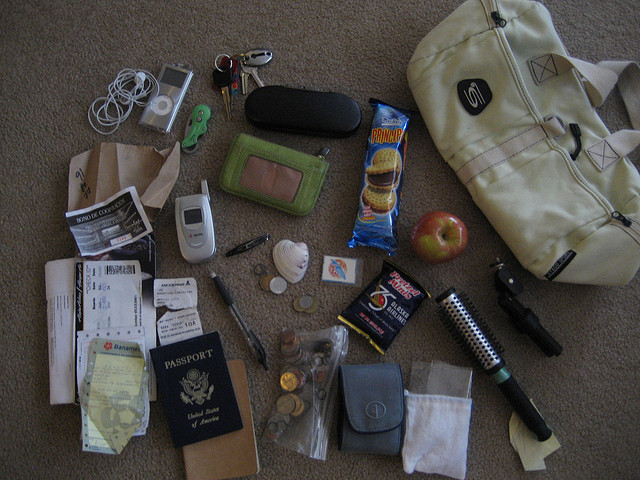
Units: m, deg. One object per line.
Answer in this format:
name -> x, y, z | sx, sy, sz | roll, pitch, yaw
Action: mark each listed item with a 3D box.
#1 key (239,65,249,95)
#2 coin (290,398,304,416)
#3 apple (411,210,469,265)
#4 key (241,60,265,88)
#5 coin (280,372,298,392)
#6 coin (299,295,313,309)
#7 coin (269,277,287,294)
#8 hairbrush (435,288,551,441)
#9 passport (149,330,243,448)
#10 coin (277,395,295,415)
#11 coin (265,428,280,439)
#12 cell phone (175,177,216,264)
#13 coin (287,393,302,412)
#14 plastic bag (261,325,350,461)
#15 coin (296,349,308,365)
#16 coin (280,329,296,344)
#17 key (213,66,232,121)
key -> -0.238, -0.506, 1.898 | 0.029, 0.007, 0.093 | -3, 82, -2
coin -> -0.062, 0.481, 1.747 | 0.033, 0.036, 0.040 | -8, 104, 18
apple -> 0.351, -0.013, 1.811 | 0.136, 0.133, 0.143 | 37, 96, 1
key -> -0.215, -0.528, 1.898 | 0.096, 0.021, 0.055 | 37, 78, -1
coin -> -0.089, 0.409, 1.743 | 0.050, 0.015, 0.052 | 0, 82, -2
coin -> -0.042, 0.185, 1.802 | 0.039, 0.009, 0.040 | 0, 82, -2
coin -> -0.127, 0.136, 1.810 | 0.049, 0.012, 0.050 | 0, 82, -2
hairbrush -> 0.511, 0.354, 1.751 | 0.110, 0.082, 0.513 | -36, 84, -6
passport -> -0.356, 0.428, 1.738 | 0.206, 0.015, 0.308 | -17, 83, -4
coin -> -0.098, 0.473, 1.735 | 0.049, 0.022, 0.049 | 0, 81, -1
coin -> -0.140, 0.565, 1.743 | 0.046, 0.019, 0.020 | 26, 81, 2
cell phone -> -0.373, -0.055, 1.781 | 0.088, 0.060, 0.221 | -10, 86, -1
coin -> -0.077, 0.465, 1.737 | 0.036, 0.036, 0.044 | -3, 93, 32
plastic bag -> -0.028, 0.446, 1.753 | 0.218, 0.094, 0.390 | 2, 81, 5
coin -> -0.051, 0.342, 1.766 | 0.025, 0.031, 0.032 | -6, 60, -4
coin -> -0.092, 0.279, 1.739 | 0.040, 0.022, 0.040 | 0, 81, -1
key -> -0.300, -0.466, 1.892 | 0.045, 0.009, 0.186 | -5, 92, 4
